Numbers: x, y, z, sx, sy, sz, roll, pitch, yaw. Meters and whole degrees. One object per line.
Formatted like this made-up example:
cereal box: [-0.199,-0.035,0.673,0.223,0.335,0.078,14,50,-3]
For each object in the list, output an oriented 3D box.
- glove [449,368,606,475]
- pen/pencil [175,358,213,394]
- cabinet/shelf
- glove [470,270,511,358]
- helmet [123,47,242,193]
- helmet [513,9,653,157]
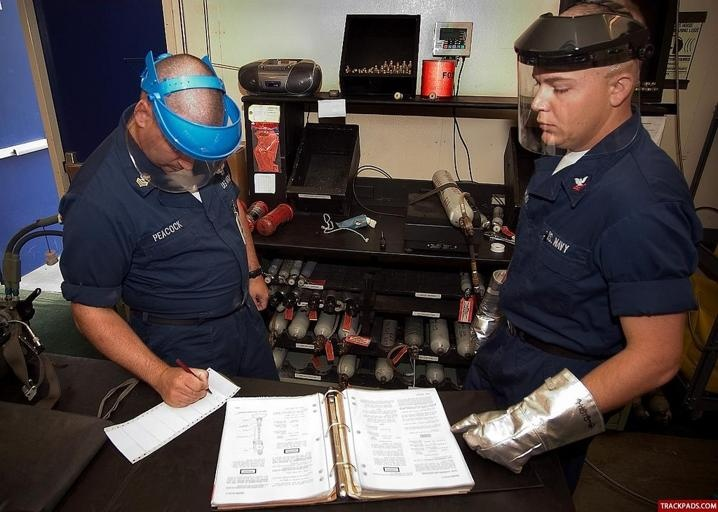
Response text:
glove: [0.542,0.530,1.687,0.419,0.207,0.286,-24,45,0]
pen/pencil: [-0.600,0.435,1.870,0.019,0.016,0.142,-41,81,-19]
cabinet/shelf: [0.186,-0.094,2.673,1.477,1.514,0.644,1,30,3]
glove: [0.603,0.286,2.326,0.081,0.352,0.108,-6,11,4]
helmet: [-0.633,-0.467,1.911,0.453,0.450,0.311,40,38,18]
helmet: [0.685,-0.651,1.885,0.483,0.517,0.425,-1,31,8]
